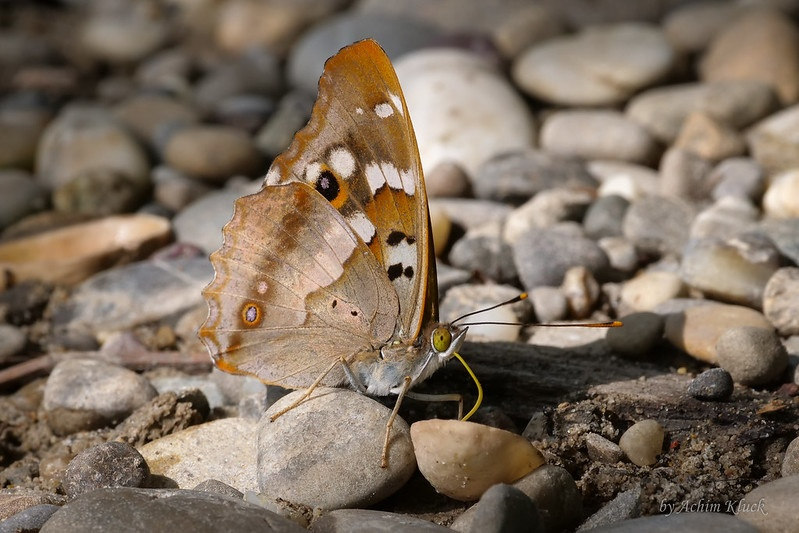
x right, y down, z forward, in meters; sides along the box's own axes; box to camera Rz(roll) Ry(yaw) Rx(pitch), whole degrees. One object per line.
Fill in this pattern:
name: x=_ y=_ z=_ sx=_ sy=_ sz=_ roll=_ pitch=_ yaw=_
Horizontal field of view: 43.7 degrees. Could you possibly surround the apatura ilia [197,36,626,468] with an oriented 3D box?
apatura ilia: x=0.120 y=0.019 z=4.557 sx=1.777 sy=1.625 sz=1.318 roll=8 pitch=-2 yaw=2
